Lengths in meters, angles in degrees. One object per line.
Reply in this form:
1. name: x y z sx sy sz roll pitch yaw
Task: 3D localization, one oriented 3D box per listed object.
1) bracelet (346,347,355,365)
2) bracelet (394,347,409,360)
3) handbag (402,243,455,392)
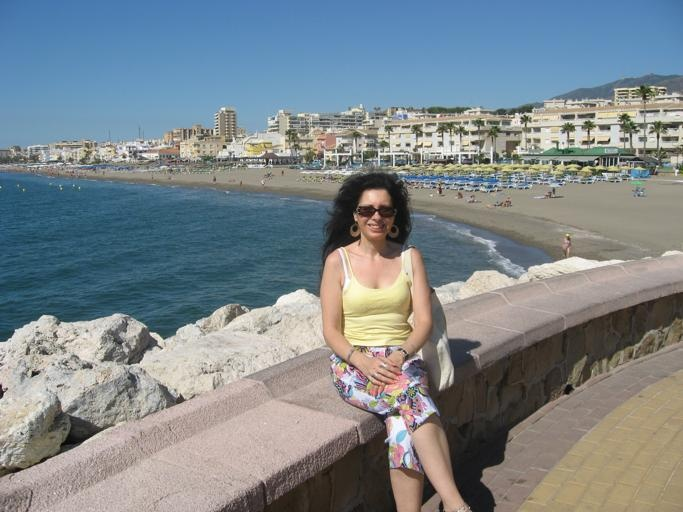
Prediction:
1. bracelet: 0.047 0.534 2.695 0.022 0.065 0.073 11 -26 -17
2. bracelet: 0.317 0.516 2.658 0.024 0.056 0.059 -33 13 -1
3. handbag: 0.489 0.350 2.910 0.383 0.803 0.318 -2 6 34
